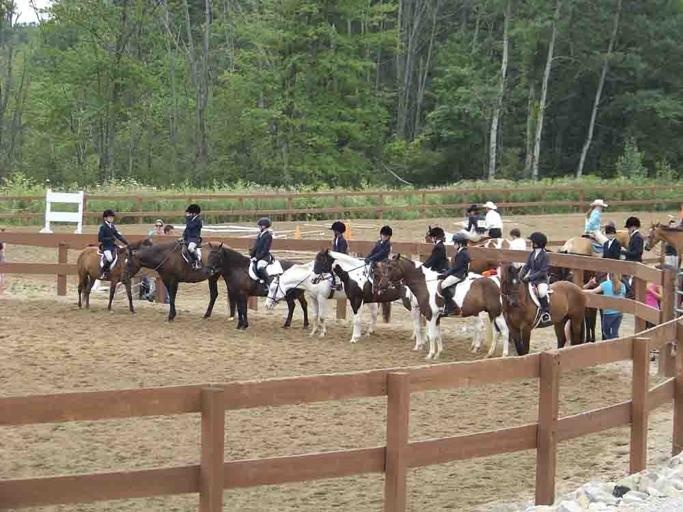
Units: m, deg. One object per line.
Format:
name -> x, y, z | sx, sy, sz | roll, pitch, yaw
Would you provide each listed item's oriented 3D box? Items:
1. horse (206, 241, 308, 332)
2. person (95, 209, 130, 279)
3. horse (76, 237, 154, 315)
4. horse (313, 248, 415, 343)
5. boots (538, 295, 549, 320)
horse -> -3.292, 0.943, 51.044 | 3.209, 3.510, 3.028 | -4, 11, -42
person -> -8.804, -0.460, 51.578 | 1.002, 2.898, 0.860 | 3, 12, 8
horse -> -8.874, 0.783, 51.772 | 4.150, 3.067, 1.182 | 7, 11, 30
horse -> 1.112, 1.593, 50.634 | 4.842, 3.433, 1.386 | 2, 1, -27
boots -> 7.112, 1.840, 46.814 | 0.413, 0.963, 0.168 | 1, 5, -17
